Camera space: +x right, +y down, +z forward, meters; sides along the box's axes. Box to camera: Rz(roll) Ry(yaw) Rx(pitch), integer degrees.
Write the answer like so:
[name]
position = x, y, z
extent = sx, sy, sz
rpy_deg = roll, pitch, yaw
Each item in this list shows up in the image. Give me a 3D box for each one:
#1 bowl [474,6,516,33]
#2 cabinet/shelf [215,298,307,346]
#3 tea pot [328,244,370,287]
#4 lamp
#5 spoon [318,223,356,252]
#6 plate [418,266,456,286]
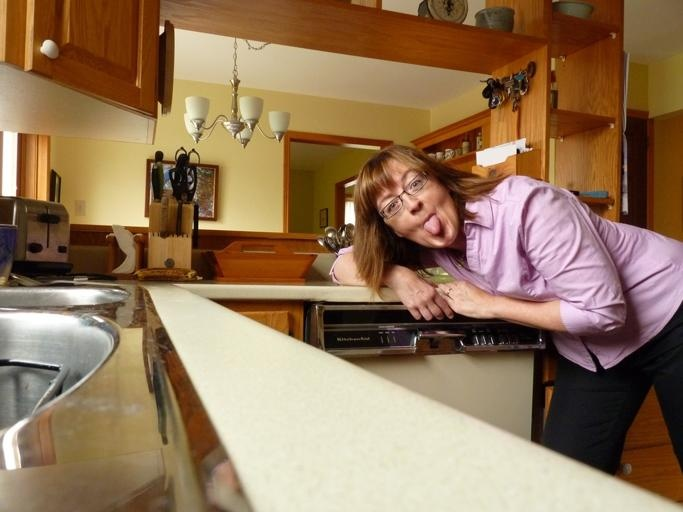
[bowl]
position = 0.655, -1.013, 2.176
extent = 0.130, 0.104, 0.144
rpy_deg = 19, 27, 40
[cabinet/shelf]
position = -0.184, 0.176, 1.448
extent = 0.156, 0.161, 0.118
rpy_deg = 1, 27, 5
[tea pot]
position = 0.021, 0.023, 1.714
extent = 0.144, 0.080, 0.207
rpy_deg = -13, 12, -11
[lamp]
position = -0.757, -1.283, 3.601
extent = 0.672, 0.980, 0.658
rpy_deg = 1, -5, -34
[spoon]
position = 0.005, -0.098, 2.023
extent = 0.094, 0.136, 0.054
rpy_deg = -7, -26, 29
[plate]
position = 0.311, 0.069, 1.690
extent = 0.071, 0.021, 0.074
rpy_deg = -3, 14, -26
